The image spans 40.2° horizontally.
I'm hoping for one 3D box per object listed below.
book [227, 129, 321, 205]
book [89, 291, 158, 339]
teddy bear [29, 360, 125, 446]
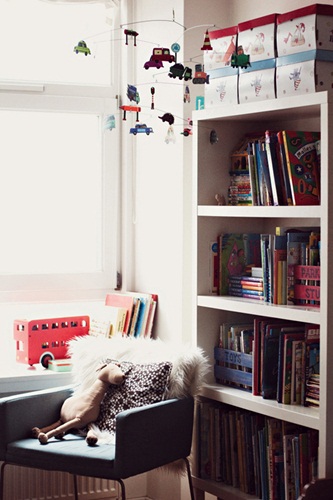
[{"bbox_3d":[0.341,-0.273,1.477,0.173,0.267,0.452,-3,3,-14],"label":"book"},{"bbox_3d":[-0.202,0.312,2.178,0.241,0.250,0.081,3,-6,35],"label":"book"},{"bbox_3d":[-0.318,0.576,1.669,0.370,0.165,0.122,-28,19,-33],"label":"teddy bear"}]
